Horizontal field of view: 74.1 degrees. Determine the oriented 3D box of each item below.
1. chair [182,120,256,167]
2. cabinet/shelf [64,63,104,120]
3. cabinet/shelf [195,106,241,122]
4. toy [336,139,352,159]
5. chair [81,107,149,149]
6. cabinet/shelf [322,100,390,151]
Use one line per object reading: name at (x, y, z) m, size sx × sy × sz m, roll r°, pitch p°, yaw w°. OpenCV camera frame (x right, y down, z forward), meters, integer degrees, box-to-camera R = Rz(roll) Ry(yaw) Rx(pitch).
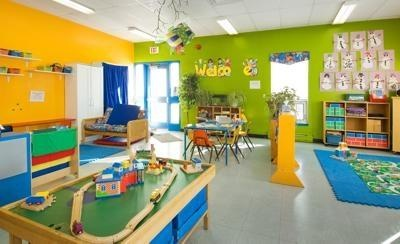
chair at (0.398, 0.484, 7.416) m, size 1.278 × 0.638 × 1.409 m, roll 1°, pitch 3°, yaw 21°
cabinet/shelf at (-3.969, -1.071, 9.150) m, size 0.444 × 1.830 × 1.263 m, roll 8°, pitch 12°, yaw 39°
cabinet/shelf at (0.738, -0.327, 10.057) m, size 1.639 × 0.613 × 0.933 m, roll -1°, pitch 10°, yaw -7°
toy at (4.078, 0.761, 7.500) m, size 0.440 × 0.414 × 0.424 m, roll -12°, pitch 12°, yaw -35°
chair at (-2.881, 0.058, 9.169) m, size 1.861 × 1.271 × 1.337 m, roll 4°, pitch 7°, yaw 16°
cabinet/shelf at (5.067, 0.112, 8.487) m, size 1.715 × 1.386 × 0.495 m, roll 1°, pitch 1°, yaw 19°
